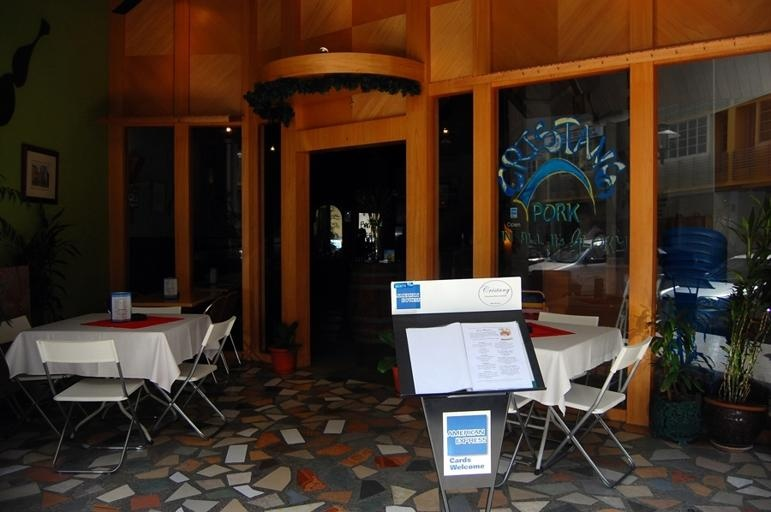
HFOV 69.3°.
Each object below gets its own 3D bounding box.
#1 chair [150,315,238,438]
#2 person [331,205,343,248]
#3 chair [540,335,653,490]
[{"bbox_3d":[-2.307,1.413,6.662,0.875,1.348,0.785,0,3,-1],"label":"chair"},{"bbox_3d":[-1.030,-0.619,11.740,0.253,0.852,0.166,-1,10,-2],"label":"person"},{"bbox_3d":[1.982,1.508,5.837,0.902,1.386,0.837,8,12,5],"label":"chair"}]
